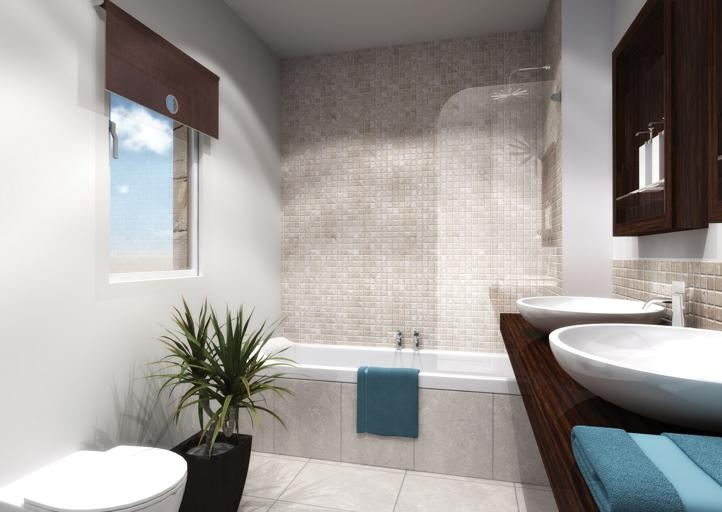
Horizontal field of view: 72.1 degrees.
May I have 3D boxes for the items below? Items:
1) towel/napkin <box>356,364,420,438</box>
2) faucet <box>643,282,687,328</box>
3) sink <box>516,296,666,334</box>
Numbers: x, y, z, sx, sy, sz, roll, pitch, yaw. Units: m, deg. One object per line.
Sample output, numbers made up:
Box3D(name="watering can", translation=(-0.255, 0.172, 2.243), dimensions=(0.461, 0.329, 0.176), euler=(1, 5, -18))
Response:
Box3D(name="towel/napkin", translation=(0.195, 1.022, 3.435), dimensions=(0.443, 0.474, 0.056), euler=(-3, 0, 10))
Box3D(name="faucet", translation=(1.467, 0.223, 2.381), dimensions=(0.168, 0.227, 0.214), euler=(-3, -1, 40))
Box3D(name="sink", translation=(1.217, 0.242, 2.613), dimensions=(0.638, 0.216, 0.728), euler=(0, 0, 10))
